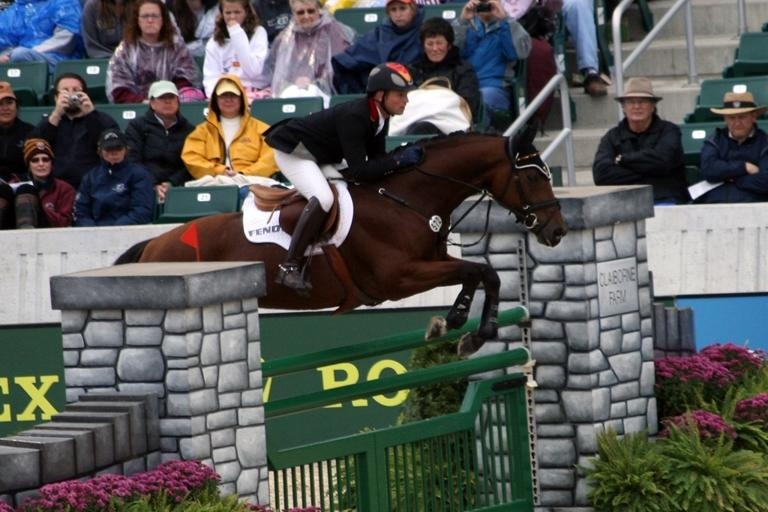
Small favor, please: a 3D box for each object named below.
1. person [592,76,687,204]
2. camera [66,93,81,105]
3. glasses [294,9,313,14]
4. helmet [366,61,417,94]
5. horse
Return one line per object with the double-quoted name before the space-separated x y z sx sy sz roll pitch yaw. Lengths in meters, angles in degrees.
"person" 2.648 -1.211 23.208 0.933 1.101 0.407 -4 -2 12
"camera" -3.351 -1.721 23.983 0.132 0.069 0.051 -4 -1 -12
"glasses" -0.908 -2.752 24.767 0.205 0.045 0.071 -4 -1 5
"helmet" 0.050 -1.645 20.235 0.374 0.207 0.264 -1 13 13
"horse" -0.670 -0.042 20.858 4.425 1.800 1.041 -4 6 14
